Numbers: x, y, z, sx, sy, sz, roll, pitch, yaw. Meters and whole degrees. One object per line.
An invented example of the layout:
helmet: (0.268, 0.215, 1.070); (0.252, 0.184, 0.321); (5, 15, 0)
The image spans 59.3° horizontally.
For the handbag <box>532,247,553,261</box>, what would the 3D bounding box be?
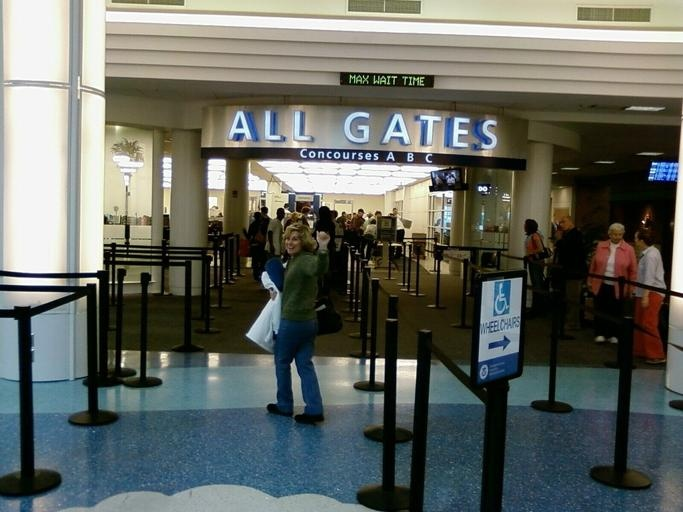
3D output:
handbag: (3.946, -0.044, 12.006); (0.393, 0.374, 0.255); (4, -4, -42)

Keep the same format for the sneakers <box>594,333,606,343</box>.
sneakers: (4.161, 1.310, 9.684); (0.124, 0.106, 0.294); (-3, -6, 17)

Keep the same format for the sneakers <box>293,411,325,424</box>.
sneakers: (-0.323, 1.564, 5.895); (0.284, 0.127, 0.102); (4, 1, 4)

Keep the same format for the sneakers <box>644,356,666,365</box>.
sneakers: (4.522, 1.499, 8.680); (0.311, 0.110, 0.108); (4, -4, -27)

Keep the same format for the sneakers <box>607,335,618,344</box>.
sneakers: (4.380, 1.347, 9.716); (0.115, 0.089, 0.089); (20, -4, 11)

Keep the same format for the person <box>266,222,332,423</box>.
person: (-0.438, 0.638, 5.879); (0.575, 1.940, 0.532); (0, 3, -8)

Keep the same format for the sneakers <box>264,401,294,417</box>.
sneakers: (-0.635, 1.547, 6.088); (0.281, 0.119, 0.105); (9, 9, 29)
